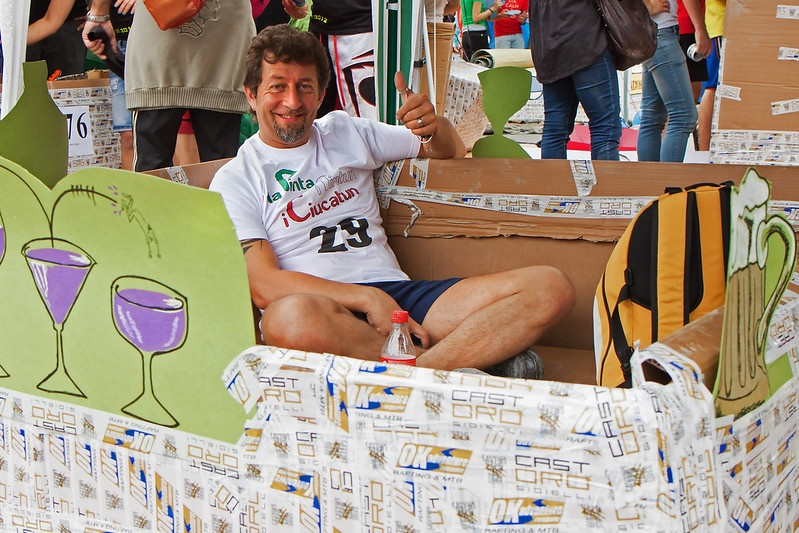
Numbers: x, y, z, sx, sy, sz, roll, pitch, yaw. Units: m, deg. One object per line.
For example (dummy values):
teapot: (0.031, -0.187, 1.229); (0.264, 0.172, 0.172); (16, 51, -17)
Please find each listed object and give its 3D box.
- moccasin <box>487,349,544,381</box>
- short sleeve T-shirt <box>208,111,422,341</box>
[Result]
moccasin: (0.350, 0.282, 2.728); (0.107, 0.132, 0.090); (5, -7, -15)
short sleeve T-shirt: (-0.244, -0.114, 2.926); (0.553, 0.469, 0.174); (-19, -18, -30)
